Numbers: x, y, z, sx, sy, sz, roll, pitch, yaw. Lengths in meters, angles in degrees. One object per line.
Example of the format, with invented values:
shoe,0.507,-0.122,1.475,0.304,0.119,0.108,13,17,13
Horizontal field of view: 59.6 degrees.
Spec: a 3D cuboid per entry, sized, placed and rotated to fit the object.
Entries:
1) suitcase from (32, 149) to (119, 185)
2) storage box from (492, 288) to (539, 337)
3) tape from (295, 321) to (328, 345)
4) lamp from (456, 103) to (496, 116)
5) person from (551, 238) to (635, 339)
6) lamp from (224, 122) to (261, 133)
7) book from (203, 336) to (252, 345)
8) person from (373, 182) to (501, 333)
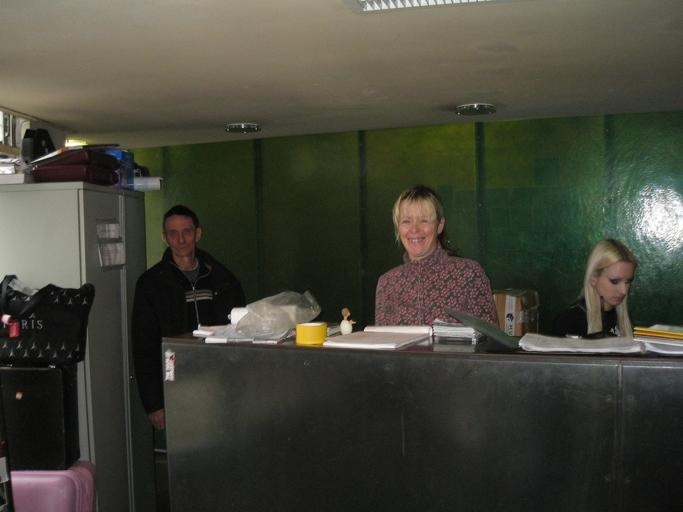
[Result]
suitcase,-1.569,-0.511,3.506,0.436,0.231,0.207,-10,13,-26
storage box,1.407,0.426,4.700,0.395,0.433,0.603,0,3,27
tape,-0.126,0.332,2.549,0.100,0.063,0.098,2,-3,-29
lamp,1.004,-1.100,4.453,0.299,0.090,0.343,-2,12,11
person,1.701,0.211,3.986,0.409,0.724,0.760,2,3,44
lamp,-0.807,-1.065,4.934,0.296,0.081,0.355,-6,12,-10
book,-0.487,0.375,2.603,0.253,0.035,0.037,0,6,11
person,0.486,0.020,3.202,0.462,0.750,0.622,-11,14,-28
